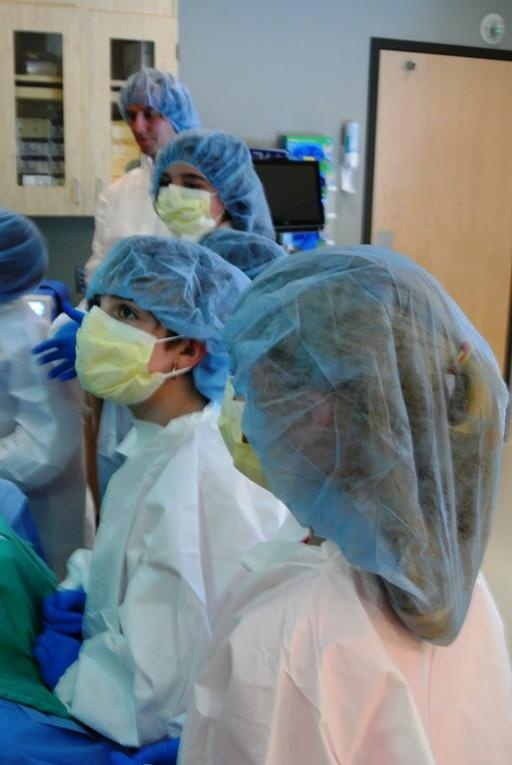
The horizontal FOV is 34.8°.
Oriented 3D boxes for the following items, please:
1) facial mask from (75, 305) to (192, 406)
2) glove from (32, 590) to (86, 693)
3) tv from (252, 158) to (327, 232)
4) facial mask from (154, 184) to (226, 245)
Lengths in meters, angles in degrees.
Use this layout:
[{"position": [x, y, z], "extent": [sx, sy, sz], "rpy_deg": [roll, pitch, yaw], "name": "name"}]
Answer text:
[{"position": [-0.283, -0.046, 1.580], "extent": [0.222, 0.151, 0.271], "rpy_deg": [13, 6, 20], "name": "facial mask"}, {"position": [-0.332, 0.407, 1.314], "extent": [0.039, 0.105, 0.089], "rpy_deg": [-13, -16, 9], "name": "glove"}, {"position": [0.128, -0.764, 3.355], "extent": [0.337, 0.273, 0.027], "rpy_deg": [-12, 7, -38], "name": "tv"}, {"position": [-0.210, -0.481, 2.359], "extent": [0.178, 0.140, 0.179], "rpy_deg": [2, 5, 11], "name": "facial mask"}]
